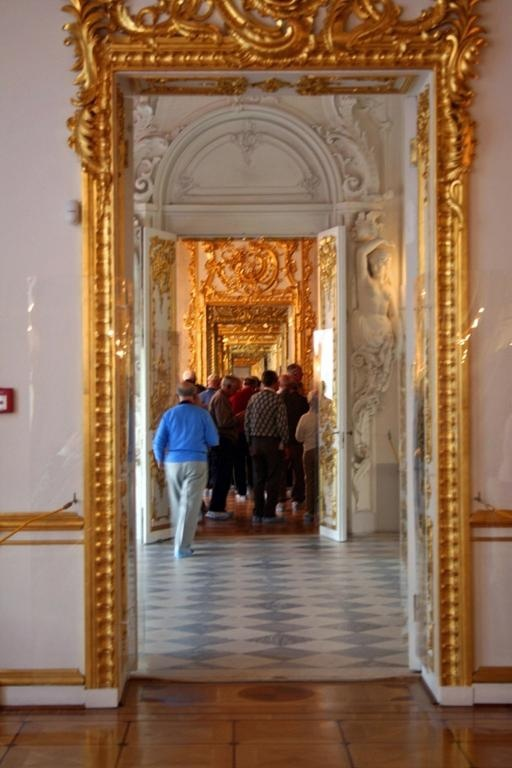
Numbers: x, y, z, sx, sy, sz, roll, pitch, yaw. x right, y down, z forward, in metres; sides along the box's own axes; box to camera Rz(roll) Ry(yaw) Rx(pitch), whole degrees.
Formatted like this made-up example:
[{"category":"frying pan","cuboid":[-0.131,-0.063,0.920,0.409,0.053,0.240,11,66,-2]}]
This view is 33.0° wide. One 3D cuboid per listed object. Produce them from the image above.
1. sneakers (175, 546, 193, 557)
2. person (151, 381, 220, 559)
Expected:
[{"category":"sneakers","cuboid":[-0.646,1.503,7.778,0.114,0.071,0.085,-5,-5,31]},{"category":"person","cuboid":[-0.606,0.763,7.669,0.541,1.559,0.454,-1,-2,16]}]
